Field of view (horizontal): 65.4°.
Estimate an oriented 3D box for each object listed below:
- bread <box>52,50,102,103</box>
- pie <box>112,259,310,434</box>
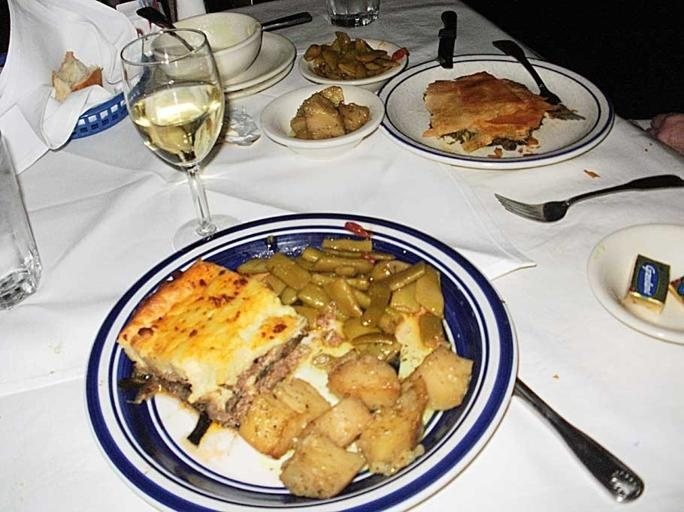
[{"bbox_3d":[-1.172,-0.822,2.348,0.156,0.190,0.204,17,45,-3],"label":"bread"},{"bbox_3d":[-0.369,0.214,1.477,0.418,0.156,0.419,20,39,20],"label":"pie"}]
